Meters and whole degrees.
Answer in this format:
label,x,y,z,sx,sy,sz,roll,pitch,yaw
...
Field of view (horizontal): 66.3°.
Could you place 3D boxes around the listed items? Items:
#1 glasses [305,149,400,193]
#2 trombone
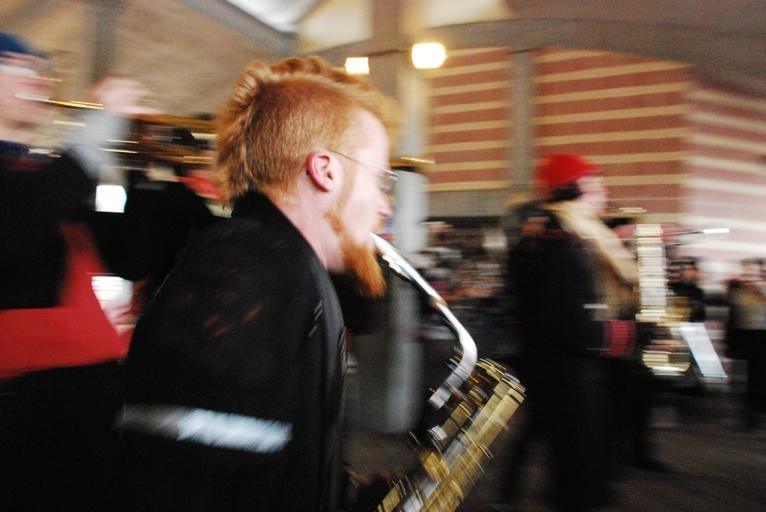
label,x,y,z,sx,sy,sz,roll,pitch,yaw
glasses,-0.037,-0.140,0.947,0.100,0.053,0.129,4,7,30
trombone,-0.243,-0.197,1.013,0.662,0.068,0.080,1,2,-5
